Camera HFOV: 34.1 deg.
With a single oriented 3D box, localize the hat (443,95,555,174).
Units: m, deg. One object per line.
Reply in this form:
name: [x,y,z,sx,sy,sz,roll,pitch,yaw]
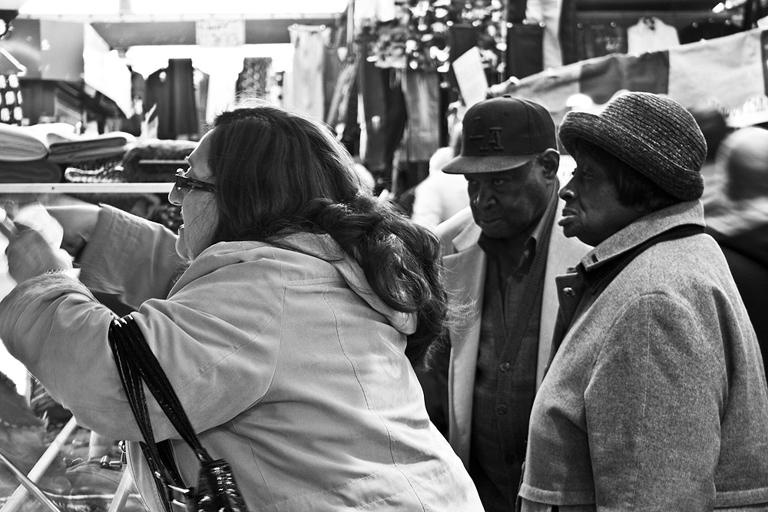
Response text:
hat: [0.493,-0.538,5.487,0.431,0.327,0.639,0,6,44]
